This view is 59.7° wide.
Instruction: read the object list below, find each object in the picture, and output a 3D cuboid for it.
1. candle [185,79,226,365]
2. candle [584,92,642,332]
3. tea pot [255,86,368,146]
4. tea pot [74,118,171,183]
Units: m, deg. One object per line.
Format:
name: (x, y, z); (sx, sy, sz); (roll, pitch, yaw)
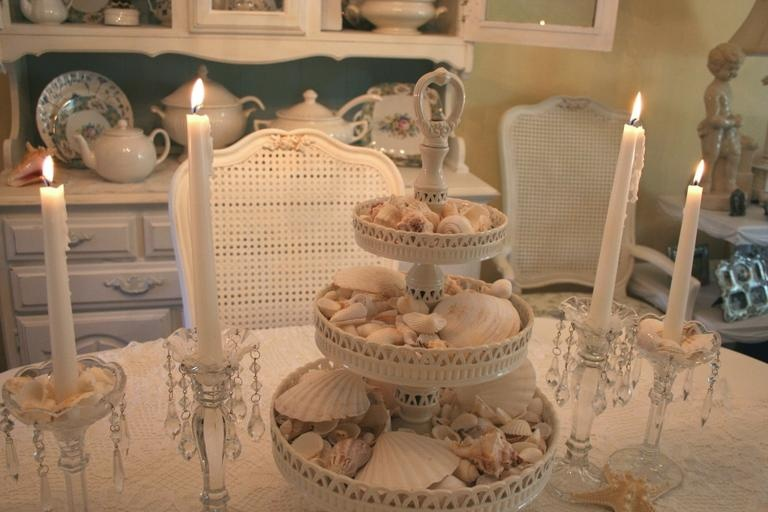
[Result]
candle: (-0.290, -0.059, 1.057); (0.057, 0.420, 0.209); (-5, 19, -10)
candle: (0.430, -0.094, 1.232); (0.070, 0.397, 0.279); (5, 20, 19)
tea pot: (-0.272, -0.507, 2.458); (0.411, 0.214, 0.260); (4, 12, -9)
tea pot: (-0.917, -0.358, 2.346); (0.290, 0.223, 0.207); (1, 17, -22)
